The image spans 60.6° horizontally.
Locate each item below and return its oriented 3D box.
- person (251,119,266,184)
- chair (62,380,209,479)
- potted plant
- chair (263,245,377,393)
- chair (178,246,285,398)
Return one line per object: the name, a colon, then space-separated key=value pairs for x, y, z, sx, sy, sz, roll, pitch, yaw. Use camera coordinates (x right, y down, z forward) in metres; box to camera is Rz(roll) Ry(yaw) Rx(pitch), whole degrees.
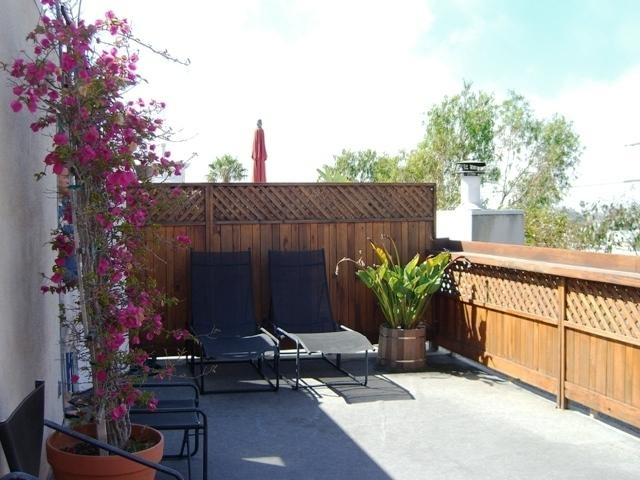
person: x=-0.924 y=-1.379 z=8.354 sx=0.242 sy=0.980 sz=0.738 roll=-1 pitch=4 yaw=-7
chair: x=-1.185 y=1.260 z=3.812 sx=0.793 sy=0.749 sz=0.735 roll=4 pitch=3 yaw=-10
potted plant: x=1.005 y=0.832 z=6.571 sx=1.229 sy=1.494 sz=1.602 roll=0 pitch=1 yaw=44
chair: x=-0.064 y=0.847 z=6.160 sx=0.865 sy=1.413 sz=1.768 roll=1 pitch=4 yaw=-19
chair: x=-0.993 y=0.836 z=5.931 sx=0.766 sy=1.511 sz=1.669 roll=-1 pitch=2 yaw=-14
